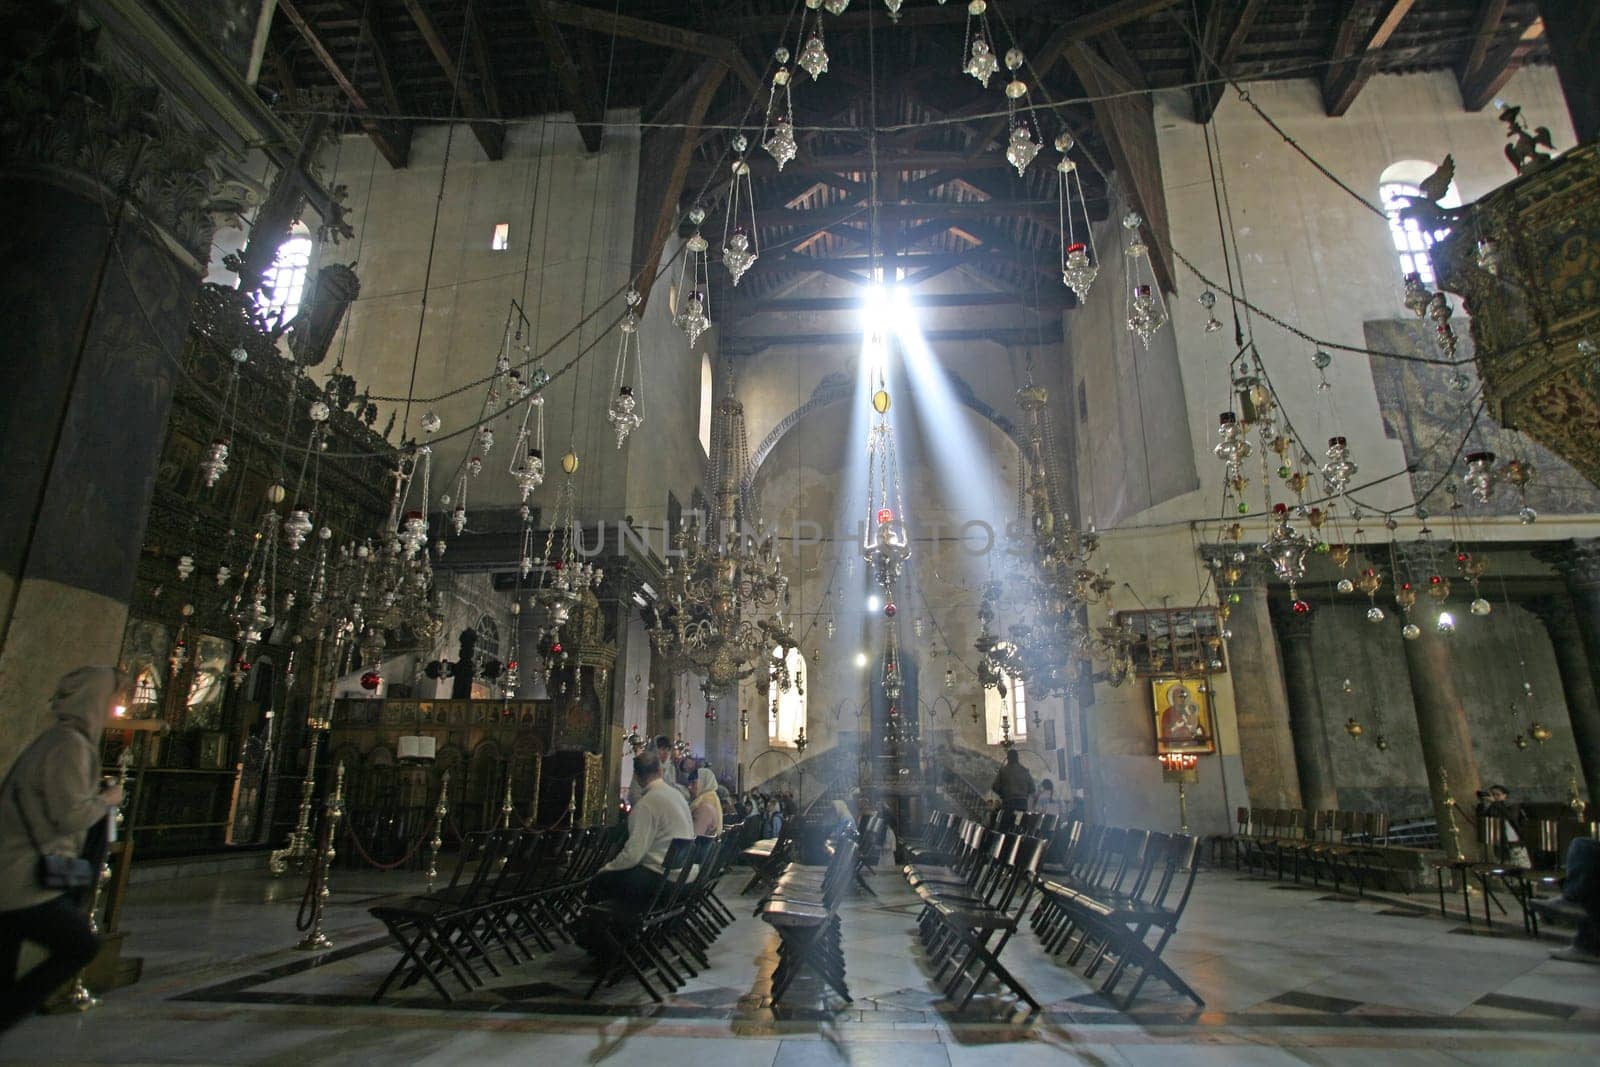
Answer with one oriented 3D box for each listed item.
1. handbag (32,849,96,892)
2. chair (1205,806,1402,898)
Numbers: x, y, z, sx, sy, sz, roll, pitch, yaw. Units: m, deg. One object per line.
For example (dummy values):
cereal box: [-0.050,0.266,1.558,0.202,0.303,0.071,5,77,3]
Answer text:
handbag: [-5.135,2.360,6.874,0.234,0.341,0.443,-9,-16,10]
chair: [7.827,4.864,14.970,1.427,1.250,3.304,1,-7,-7]
